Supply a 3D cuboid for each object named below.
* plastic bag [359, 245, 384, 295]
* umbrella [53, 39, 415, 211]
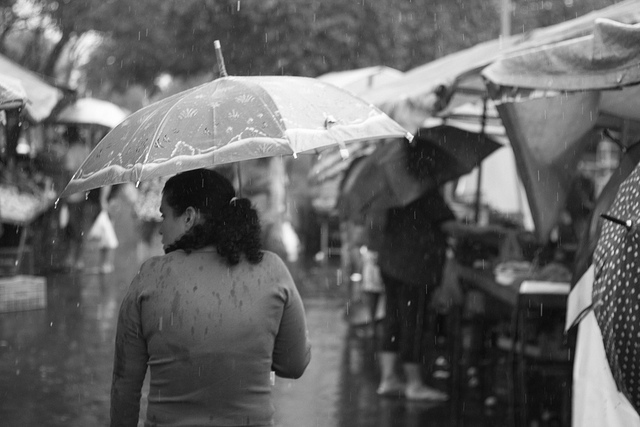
[{"bbox_3d":[0.882,0.904,17.297,0.419,1.039,0.416,14,-14,-43],"label":"plastic bag"},{"bbox_3d":[-0.931,-1.093,9.453,1.674,0.795,1.850,-23,25,-10],"label":"umbrella"}]
